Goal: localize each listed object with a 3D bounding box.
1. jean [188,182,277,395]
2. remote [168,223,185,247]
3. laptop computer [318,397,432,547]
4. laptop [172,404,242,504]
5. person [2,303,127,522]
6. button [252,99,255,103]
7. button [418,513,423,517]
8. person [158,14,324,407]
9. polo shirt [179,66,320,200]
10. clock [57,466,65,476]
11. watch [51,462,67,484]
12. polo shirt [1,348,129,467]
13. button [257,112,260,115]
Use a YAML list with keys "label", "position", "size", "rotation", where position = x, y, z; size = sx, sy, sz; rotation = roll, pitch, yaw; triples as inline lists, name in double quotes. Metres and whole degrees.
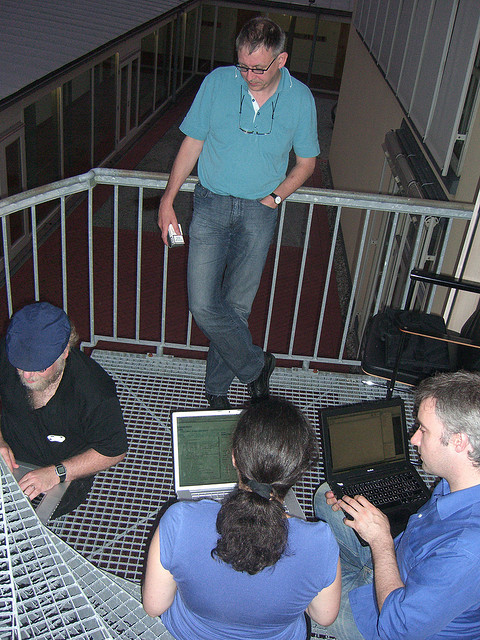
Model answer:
- label: "jean"
  position: [-0.061, -0.185, 2.599]
  size: [0.488, 0.919, 0.538]
  rotation: [7, 38, 3]
- label: "remote"
  position: [-0.339, -0.457, 2.532]
  size: [0.096, 0.043, 0.137]
  rotation: [-3, 82, -31]
- label: "laptop computer"
  position: [0.634, 0.664, 2.169]
  size: [0.421, 0.333, 0.503]
  rotation: [-10, 24, -4]
- label: "laptop"
  position: [-0.078, 0.573, 2.028]
  size: [0.378, 0.301, 0.373]
  rotation: [0, 79, -17]
- label: "person"
  position: [-0.862, 0.317, 2.151]
  size: [0.513, 0.754, 0.632]
  rotation: [-23, 46, -32]
- label: "button"
  position: [0.065, -1.054, 2.270]
  size: [0.013, 0.014, 0.003]
  rotation: [2, 17, -5]
- label: "button"
  position: [0.669, 0.722, 1.745]
  size: [0.004, 0.014, 0.015]
  rotation: [21, -13, -37]
- label: "person"
  position: [-0.061, -0.521, 2.478]
  size: [0.757, 1.768, 0.704]
  rotation: [11, 38, 7]
- label: "polo shirt"
  position: [0.070, -0.990, 2.444]
  size: [0.702, 0.639, 0.385]
  rotation: [9, 31, -3]
- label: "clock"
  position: [-0.782, 0.662, 2.072]
  size: [0.024, 0.037, 0.033]
  rotation: [-20, 43, -22]
- label: "watch"
  position: [-0.801, 0.678, 2.106]
  size: [0.047, 0.083, 0.083]
  rotation: [5, 40, -28]
- label: "polo shirt"
  position: [-0.821, 0.419, 2.224]
  size: [0.608, 0.512, 0.288]
  rotation: [7, 38, 1]
- label: "button"
  position: [0.091, -0.998, 2.285]
  size: [0.009, 0.011, 0.010]
  rotation: [9, 81, -3]
